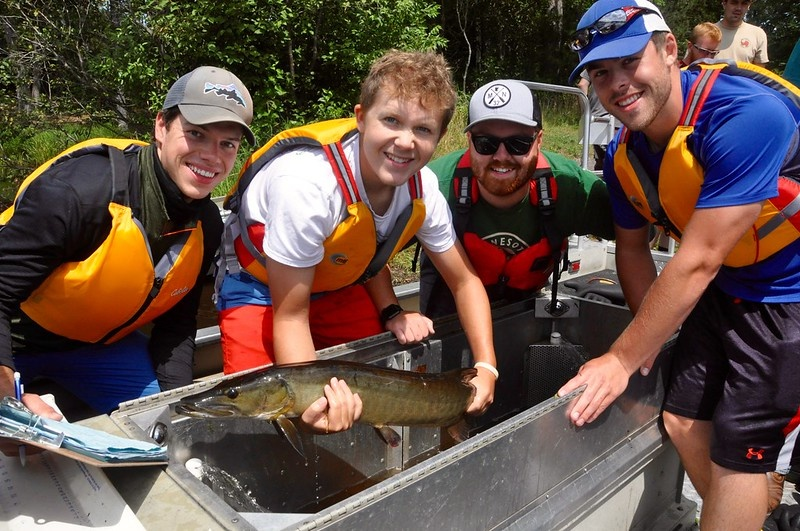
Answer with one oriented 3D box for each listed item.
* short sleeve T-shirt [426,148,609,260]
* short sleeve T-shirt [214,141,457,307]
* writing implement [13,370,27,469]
[{"bbox_3d":[1.088,-0.341,4.254,1.253,0.718,0.472,9,-9,5],"label":"short sleeve T-shirt"},{"bbox_3d":[-0.399,-0.225,2.975,1.409,0.932,0.661,-11,22,-16],"label":"short sleeve T-shirt"},{"bbox_3d":[-1.409,0.569,1.936,0.031,0.348,0.033,5,7,29],"label":"writing implement"}]
